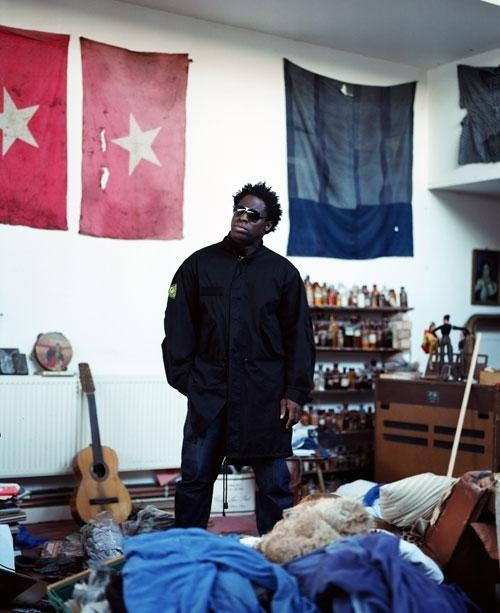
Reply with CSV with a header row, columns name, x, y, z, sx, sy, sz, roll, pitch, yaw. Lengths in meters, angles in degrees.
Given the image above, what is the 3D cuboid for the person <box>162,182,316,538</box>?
name,x,y,z,sx,sy,sz,roll,pitch,yaw
person,-0.047,0.206,2.622,0.617,1.414,0.485,4,7,-9

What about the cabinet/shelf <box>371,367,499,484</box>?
name,x,y,z,sx,sy,sz,roll,pitch,yaw
cabinet/shelf,1.165,0.817,4.126,0.184,0.829,0.958,-2,11,-45

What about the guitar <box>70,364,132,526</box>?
name,x,y,z,sx,sy,sz,roll,pitch,yaw
guitar,-0.909,0.834,3.832,0.310,0.715,0.637,2,8,-28

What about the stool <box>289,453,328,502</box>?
name,x,y,z,sx,sy,sz,roll,pitch,yaw
stool,0.401,1.140,4.315,0.245,0.311,0.226,-1,0,-5
